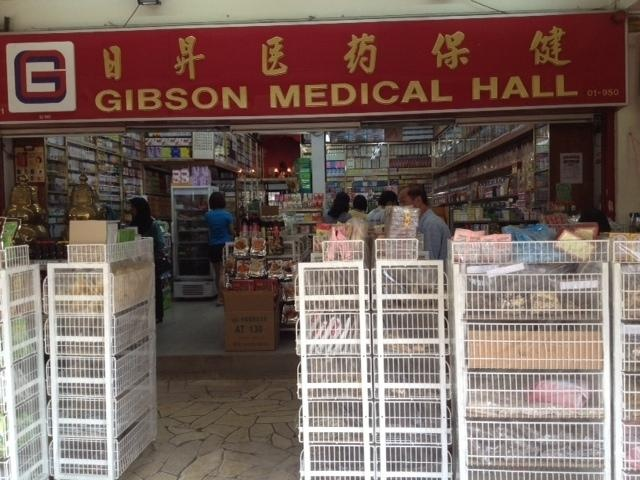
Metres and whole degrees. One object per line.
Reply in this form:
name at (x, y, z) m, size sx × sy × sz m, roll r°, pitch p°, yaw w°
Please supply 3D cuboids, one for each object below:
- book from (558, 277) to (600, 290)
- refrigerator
book at (1.611, 0.273, 3.756) m, size 0.238 × 0.067 × 0.017 m, roll -1°, pitch 4°, yaw 4°
refrigerator at (-2.280, 0.108, 10.843) m, size 0.766 × 2.190 × 0.771 m, roll 0°, pitch -24°, yaw -14°
